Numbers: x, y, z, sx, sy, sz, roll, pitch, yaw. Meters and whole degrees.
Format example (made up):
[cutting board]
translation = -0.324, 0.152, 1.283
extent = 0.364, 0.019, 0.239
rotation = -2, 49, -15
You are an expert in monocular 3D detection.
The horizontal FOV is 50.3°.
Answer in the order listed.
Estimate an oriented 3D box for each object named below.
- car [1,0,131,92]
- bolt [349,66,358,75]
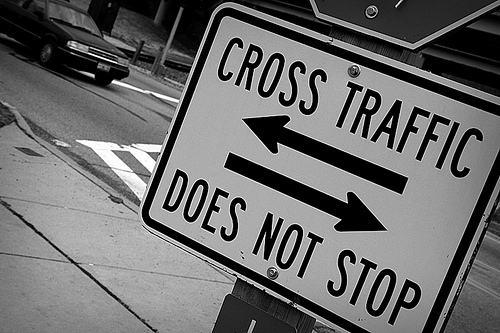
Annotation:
[car]
translation = -4.821, -3.302, 13.671
extent = 3.141, 1.602, 1.654
rotation = 27, 14, 20
[bolt]
translation = 0.560, -0.516, 2.874
extent = 0.035, 0.042, 0.009
rotation = 17, 7, 13
